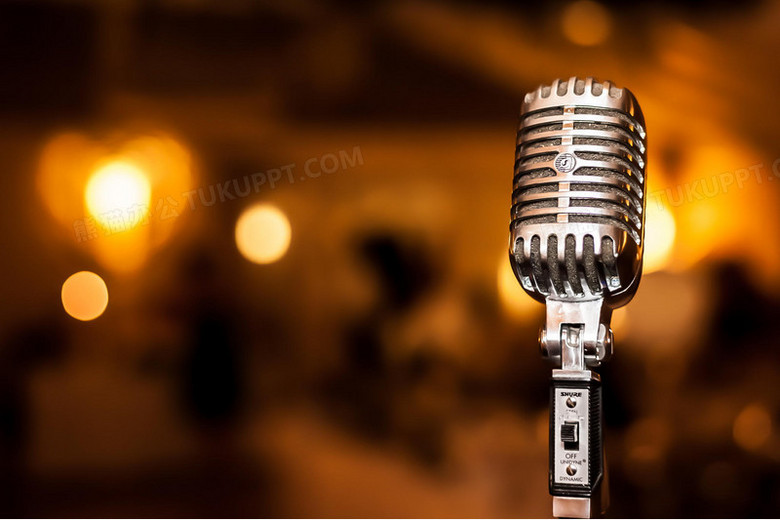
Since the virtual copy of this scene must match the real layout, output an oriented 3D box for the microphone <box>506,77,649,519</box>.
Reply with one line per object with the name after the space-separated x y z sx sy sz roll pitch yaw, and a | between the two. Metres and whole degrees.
0.328 0.063 1.855 0.232 0.682 0.343 0 -29 7 | microphone
